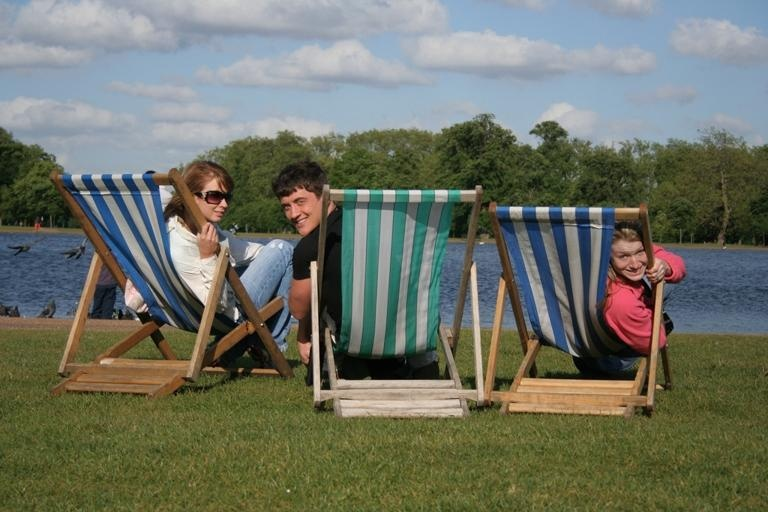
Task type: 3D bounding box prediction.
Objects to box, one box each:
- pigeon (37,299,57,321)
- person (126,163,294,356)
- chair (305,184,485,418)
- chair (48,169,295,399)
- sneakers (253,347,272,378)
[{"bbox_3d":[-6.840,1.101,15.956,0.226,0.346,0.337,0,36,-38],"label":"pigeon"},{"bbox_3d":[-1.553,0.138,7.259,1.642,1.568,1.065,7,2,-36],"label":"person"},{"bbox_3d":[0.113,0.365,6.376,1.417,1.834,0.939,1,3,-6],"label":"chair"},{"bbox_3d":[-1.919,0.227,6.925,1.903,1.884,1.261,0,3,-18],"label":"chair"},{"bbox_3d":[-1.211,1.068,7.845,0.166,0.274,0.071,3,9,44],"label":"sneakers"}]
